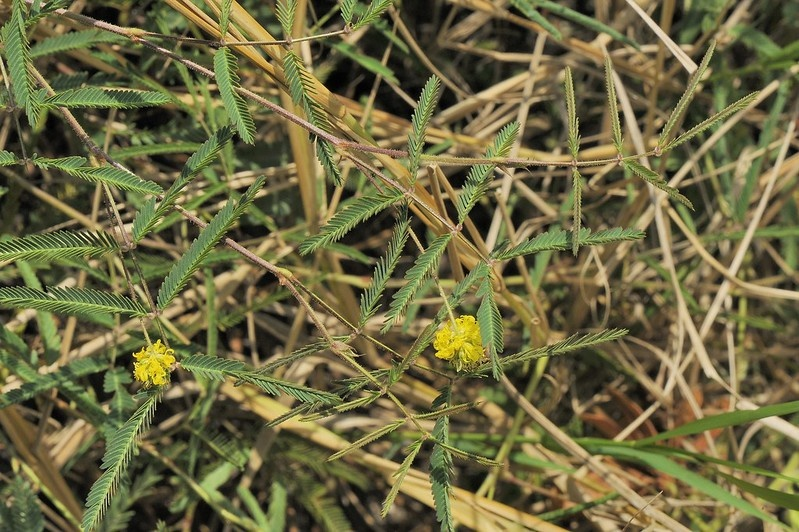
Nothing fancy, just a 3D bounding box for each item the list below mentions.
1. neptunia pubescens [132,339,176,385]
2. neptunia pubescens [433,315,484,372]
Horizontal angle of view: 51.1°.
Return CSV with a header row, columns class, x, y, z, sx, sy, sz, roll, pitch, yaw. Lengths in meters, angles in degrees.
class,x,y,z,sx,sy,sz,roll,pitch,yaw
neptunia pubescens,-0.592,0.225,2.041,0.108,0.077,0.115,1,92,-22
neptunia pubescens,0.147,0.186,2.037,0.121,0.132,0.092,-6,98,-30
